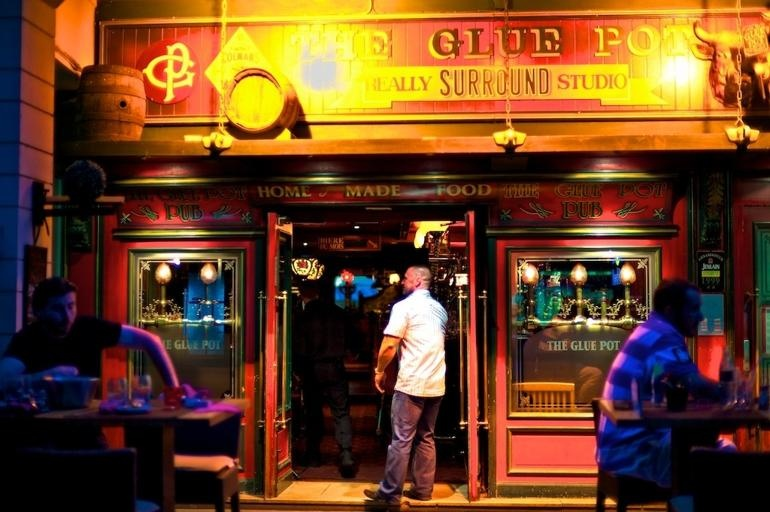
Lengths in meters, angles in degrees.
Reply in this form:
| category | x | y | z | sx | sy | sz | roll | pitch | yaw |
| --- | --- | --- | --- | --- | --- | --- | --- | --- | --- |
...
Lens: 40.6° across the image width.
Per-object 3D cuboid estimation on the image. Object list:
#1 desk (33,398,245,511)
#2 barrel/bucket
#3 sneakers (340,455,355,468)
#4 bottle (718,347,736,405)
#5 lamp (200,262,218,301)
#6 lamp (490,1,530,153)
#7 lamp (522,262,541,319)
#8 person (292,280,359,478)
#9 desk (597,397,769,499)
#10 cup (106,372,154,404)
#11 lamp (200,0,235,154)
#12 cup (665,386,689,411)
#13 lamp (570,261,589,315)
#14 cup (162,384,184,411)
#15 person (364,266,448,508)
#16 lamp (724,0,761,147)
| category | x | y | z | sx | sy | sz | roll | pitch | yaw |
| --- | --- | --- | --- | --- | --- | --- | --- | --- | --- |
| desk | -1.945 | 1.496 | 8.970 | 1.049 | 1.113 | 1.114 | 0 | -3 | 7 |
| barrel/bucket | -2.859 | -1.584 | 11.117 | 0.707 | 0.760 | 0.751 | 1 | 0 | 0 |
| sneakers | -0.424 | 2.294 | 11.620 | 0.149 | 0.192 | 0.111 | 1 | 1 | 8 |
| bottle | 2.936 | 1.041 | 8.990 | 0.128 | 0.472 | 0.583 | 0 | -7 | 18 |
| lamp | -1.907 | 0.277 | 11.285 | 0.194 | 0.425 | 0.053 | -1 | -7 | 21 |
| lamp | 1.306 | -1.921 | 10.866 | 0.329 | 1.813 | 0.868 | 1 | -6 | 8 |
| lamp | 1.530 | 0.374 | 11.094 | 0.200 | 0.587 | 0.072 | 5 | -7 | -26 |
| person | -0.677 | 1.412 | 12.135 | 0.747 | 2.206 | 0.999 | 2 | -6 | -2 |
| desk | 2.490 | 1.461 | 8.697 | 0.889 | 0.607 | 0.940 | -1 | 1 | 1 |
| cup | -2.152 | 1.172 | 9.011 | 0.269 | 0.223 | 0.282 | 0 | 0 | 0 |
| lamp | -1.728 | -1.933 | 11.015 | 0.317 | 1.841 | 0.829 | 3 | -6 | -9 |
| cup | 2.426 | 1.198 | 8.711 | 0.193 | 0.218 | 0.130 | 2 | -6 | -4 |
| lamp | 2.066 | 0.381 | 11.182 | 0.174 | 0.581 | 0.123 | 1 | -6 | 10 |
| cup | -1.805 | 1.230 | 8.920 | 0.157 | 0.246 | 0.171 | 0 | -3 | 0 |
| person | 0.253 | 1.341 | 10.950 | 0.733 | 2.527 | 0.533 | 2 | -6 | -1 |
| lamp | 3.657 | -1.930 | 10.728 | 0.311 | 1.773 | 0.930 | -1 | -7 | 19 |
